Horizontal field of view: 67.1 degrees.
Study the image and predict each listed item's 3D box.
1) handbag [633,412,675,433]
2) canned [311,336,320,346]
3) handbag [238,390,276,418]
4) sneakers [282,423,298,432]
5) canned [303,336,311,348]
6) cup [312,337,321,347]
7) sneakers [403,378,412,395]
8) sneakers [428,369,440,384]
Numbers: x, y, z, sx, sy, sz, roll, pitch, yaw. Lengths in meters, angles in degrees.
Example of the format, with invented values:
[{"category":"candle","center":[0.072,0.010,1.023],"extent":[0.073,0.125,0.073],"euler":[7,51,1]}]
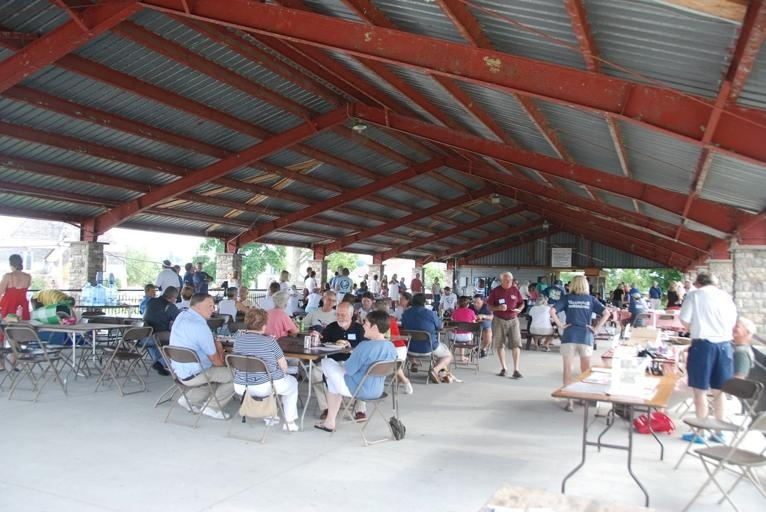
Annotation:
[{"category":"handbag","center":[3.521,2.182,7.536],"extent":[0.514,0.147,0.491],"euler":[-4,-1,32]},{"category":"canned","center":[-0.910,1.121,7.709],"extent":[0.090,0.130,0.157],"euler":[-5,-9,32]},{"category":"handbag","center":[-1.543,1.817,7.167],"extent":[0.485,0.258,0.179],"euler":[-1,-10,6]},{"category":"sneakers","center":[-1.190,2.198,7.477],"extent":[0.192,0.118,0.133],"euler":[0,-5,-8]},{"category":"canned","center":[-1.009,1.138,7.691],"extent":[0.123,0.165,0.095],"euler":[-3,-6,20]},{"category":"cup","center":[-0.902,1.138,7.735],"extent":[0.088,0.127,0.154],"euler":[-6,-10,32]},{"category":"sneakers","center":[0.417,2.059,9.113],"extent":[0.115,0.121,0.248],"euler":[3,12,-15]},{"category":"sneakers","center":[0.887,2.101,10.121],"extent":[0.139,0.104,0.282],"euler":[4,24,-29]}]
